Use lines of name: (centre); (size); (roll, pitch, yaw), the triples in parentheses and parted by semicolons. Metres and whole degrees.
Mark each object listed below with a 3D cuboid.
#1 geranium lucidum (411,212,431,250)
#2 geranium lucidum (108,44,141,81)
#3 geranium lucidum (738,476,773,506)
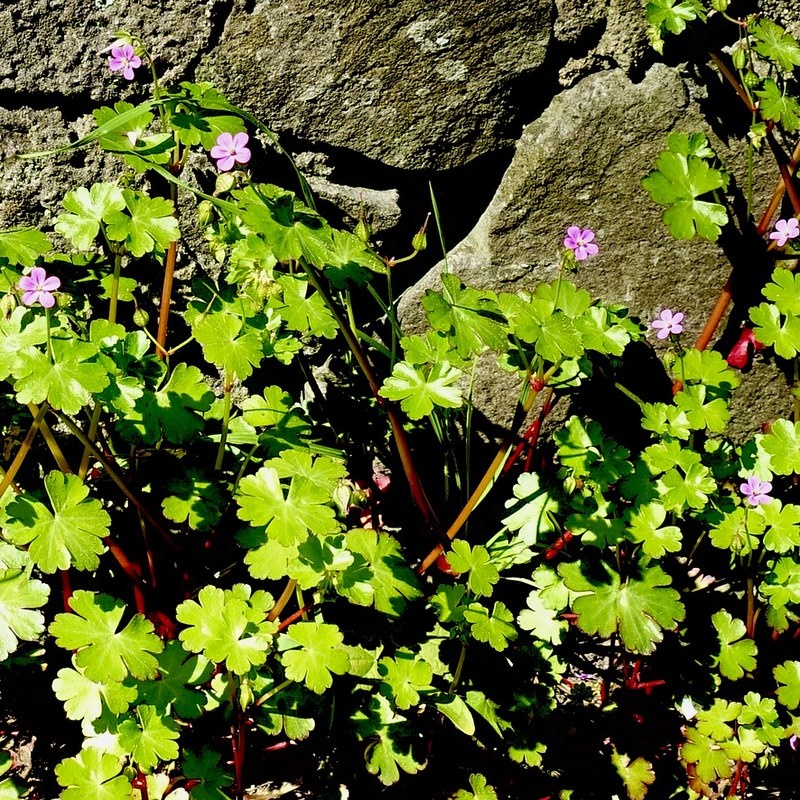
geranium lucidum: (0.066, -0.548, 3.958); (0.045, 0.136, 0.057); (-12, 61, -17)
geranium lucidum: (-0.810, -0.997, 3.573); (0.110, 0.150, 0.026); (18, 21, 28)
geranium lucidum: (1.086, 0.273, 3.724); (0.076, 0.111, 0.023); (-1, -1, -10)
